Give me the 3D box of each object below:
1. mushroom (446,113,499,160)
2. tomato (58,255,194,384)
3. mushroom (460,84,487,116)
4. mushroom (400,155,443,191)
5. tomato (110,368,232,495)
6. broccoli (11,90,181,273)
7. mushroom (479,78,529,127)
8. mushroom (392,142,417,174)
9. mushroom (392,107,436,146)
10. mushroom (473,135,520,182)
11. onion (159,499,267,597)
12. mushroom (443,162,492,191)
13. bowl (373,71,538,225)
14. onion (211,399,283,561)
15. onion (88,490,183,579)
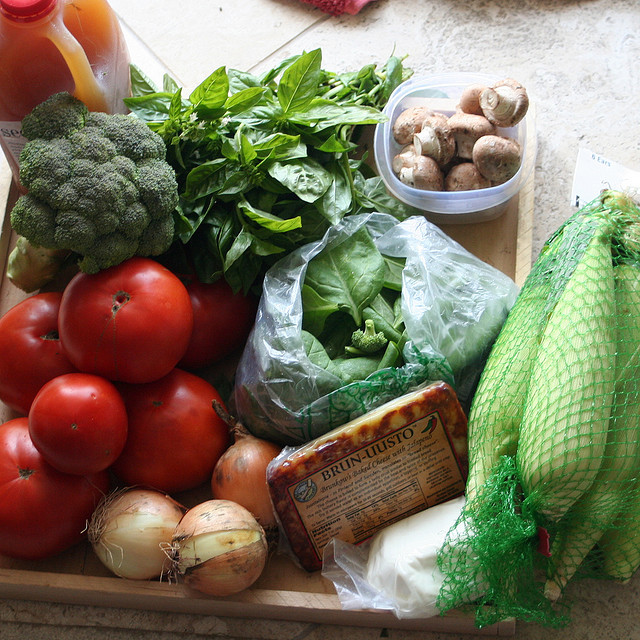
[{"bbox_3d":[0.247,-0.311,1.007,0.079,0.078,0.057,28,89,33],"label":"mushroom"},{"bbox_3d":[-0.257,0.002,0.886,0.183,0.137,0.161,11,94,2],"label":"tomato"},{"bbox_3d":[0.259,-0.371,1.025,0.042,0.030,0.051,-1,68,27],"label":"mushroom"},{"bbox_3d":[0.169,-0.241,1.005,0.069,0.050,0.051,0,49,3],"label":"mushroom"},{"bbox_3d":[-0.216,0.161,0.856,0.125,0.091,0.179,23,50,18],"label":"tomato"},{"bbox_3d":[-0.290,-0.191,0.841,0.227,0.105,0.248,7,68,-15],"label":"broccoli"},{"bbox_3d":[0.295,-0.352,0.994,0.075,0.077,0.068,5,47,9],"label":"mushroom"},{"bbox_3d":[0.149,-0.271,1.040,0.049,0.019,0.038,-44,43,-9],"label":"mushroom"},{"bbox_3d":[0.154,-0.331,1.035,0.073,0.054,0.041,-32,81,-5],"label":"mushroom"},{"bbox_3d":[0.281,-0.258,0.968,0.077,0.068,0.069,7,43,14],"label":"mushroom"},{"bbox_3d":[-0.128,0.287,0.771,0.114,0.065,0.105,16,52,16],"label":"onion"},{"bbox_3d":[0.245,-0.233,1.000,0.060,0.032,0.051,-29,56,-30],"label":"mushroom"},{"bbox_3d":[0.225,-0.281,1.026,0.268,0.152,0.237,-6,48,13],"label":"bowl"},{"bbox_3d":[-0.103,0.222,0.884,0.122,0.165,0.132,-5,13,18],"label":"onion"},{"bbox_3d":[-0.242,0.282,0.795,0.082,0.069,0.104,-20,45,-21],"label":"onion"}]
